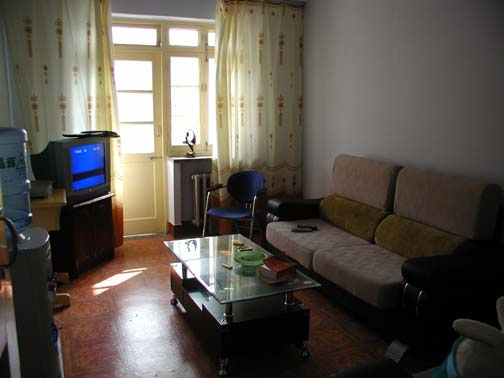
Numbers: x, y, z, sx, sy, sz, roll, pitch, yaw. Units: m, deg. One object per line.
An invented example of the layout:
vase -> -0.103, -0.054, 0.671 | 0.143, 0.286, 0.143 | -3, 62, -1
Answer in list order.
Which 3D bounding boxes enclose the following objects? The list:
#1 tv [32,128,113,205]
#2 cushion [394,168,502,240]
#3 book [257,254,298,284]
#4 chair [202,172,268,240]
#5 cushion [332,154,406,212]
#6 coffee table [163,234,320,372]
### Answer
tv -> -1.952, -0.185, 4.323 | 0.464, 0.712, 0.698 | 1, 12, 20
cushion -> 1.646, 0.130, 3.258 | 0.195, 0.348, 0.556 | 2, 7, -21
book -> 0.183, 0.612, 3.089 | 0.299, 0.112, 0.289 | 12, 19, 41
chair -> -0.184, 0.266, 4.960 | 0.702, 0.960, 0.637 | 6, 11, 28
cushion -> 1.228, -0.070, 4.239 | 0.304, 0.520, 0.991 | 9, 8, -24
coffee table -> -0.020, 0.508, 2.971 | 0.684, 0.618, 1.255 | -5, 14, -26
